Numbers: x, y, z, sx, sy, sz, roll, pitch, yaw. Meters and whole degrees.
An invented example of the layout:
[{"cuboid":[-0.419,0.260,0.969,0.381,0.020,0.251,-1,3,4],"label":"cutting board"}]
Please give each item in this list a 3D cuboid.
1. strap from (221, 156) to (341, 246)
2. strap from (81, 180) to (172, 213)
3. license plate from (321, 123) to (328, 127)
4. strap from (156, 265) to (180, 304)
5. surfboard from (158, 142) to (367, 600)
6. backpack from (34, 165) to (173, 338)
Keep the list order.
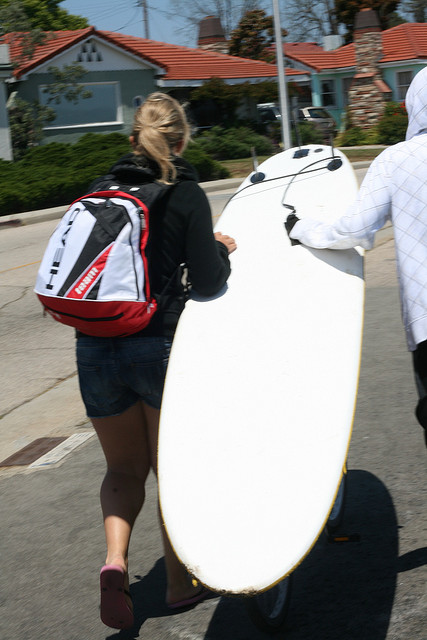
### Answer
[{"cuboid":[0.346,-0.533,2.542,0.093,0.526,0.281,36,18,19],"label":"strap"},{"cuboid":[-0.256,-0.380,1.721,0.161,0.085,0.151,-8,-2,5],"label":"strap"},{"cuboid":[5.961,-10.423,29.718,0.211,0.216,0.617,8,22,36],"label":"license plate"},{"cuboid":[-0.152,-0.120,1.830,0.151,0.016,0.018,-53,39,-9],"label":"strap"},{"cuboid":[0.286,0.053,2.222,0.592,0.432,2.287,3,29,15],"label":"surfboard"},{"cuboid":[-0.329,-0.231,1.769,0.395,0.537,0.384,13,10,39],"label":"backpack"}]
